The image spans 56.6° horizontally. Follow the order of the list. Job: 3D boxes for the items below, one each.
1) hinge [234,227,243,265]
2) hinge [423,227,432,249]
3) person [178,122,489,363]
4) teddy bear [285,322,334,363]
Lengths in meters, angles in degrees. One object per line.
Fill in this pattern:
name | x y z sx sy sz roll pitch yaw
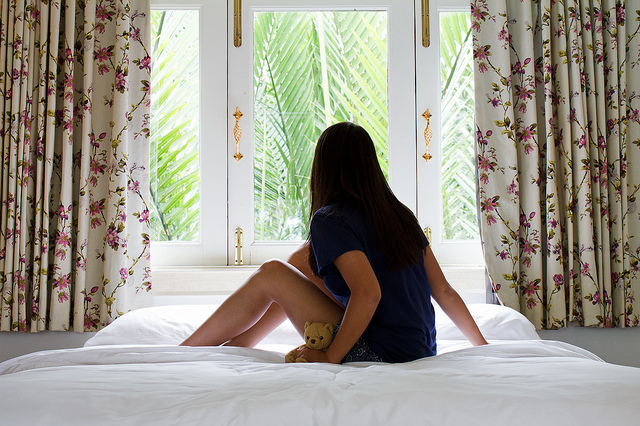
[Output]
hinge | -0.502 0.194 3.626 0.052 0.228 0.033 1 -1 -5
hinge | 0.647 0.131 3.594 0.045 0.103 0.102 0 -1 13
person | -0.037 0.175 2.778 1.680 1.087 0.715 -2 -2 30
teddy bear | -0.062 0.544 2.536 0.165 0.211 0.165 18 -16 -38
